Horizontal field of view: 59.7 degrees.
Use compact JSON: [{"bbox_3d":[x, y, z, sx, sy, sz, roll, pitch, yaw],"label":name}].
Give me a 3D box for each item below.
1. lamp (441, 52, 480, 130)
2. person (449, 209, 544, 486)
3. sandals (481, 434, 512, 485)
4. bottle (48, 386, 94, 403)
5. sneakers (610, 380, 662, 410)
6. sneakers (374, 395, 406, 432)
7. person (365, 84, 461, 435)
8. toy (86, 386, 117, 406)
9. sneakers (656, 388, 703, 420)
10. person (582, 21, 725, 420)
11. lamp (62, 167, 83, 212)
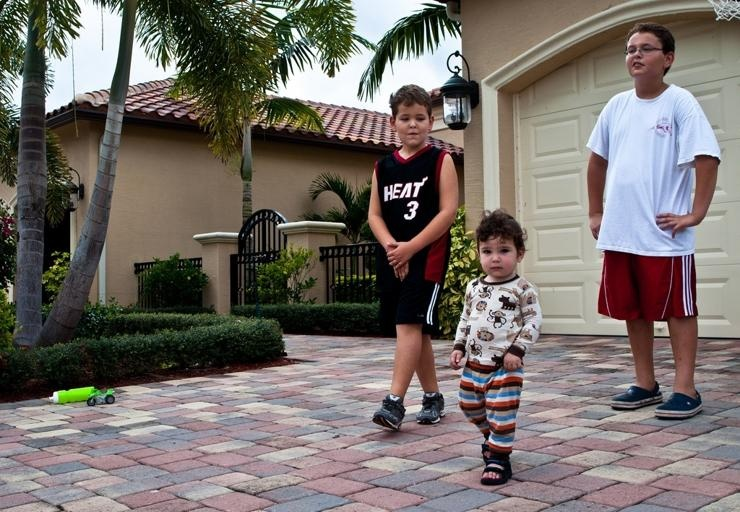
[{"bbox_3d":[1.245,-2.381,9.241,0.609,1.062,0.536,-4,6,-31],"label":"lamp"},{"bbox_3d":[0.672,0.457,3.497,0.418,1.411,0.389,-3,2,-26],"label":"person"},{"bbox_3d":[0.668,1.084,3.436,0.155,0.167,0.331,-1,2,11],"label":"sandals"},{"bbox_3d":[-2.476,1.152,5.329,0.268,0.080,0.080,-5,-38,-19],"label":"bottle"},{"bbox_3d":[1.880,0.987,4.569,0.434,0.152,0.155,-3,-10,-22],"label":"sneakers"},{"bbox_3d":[0.117,1.007,4.073,0.176,0.244,0.197,-2,2,9],"label":"sneakers"},{"bbox_3d":[0.290,-0.018,4.278,0.612,2.280,0.660,-2,2,3],"label":"person"},{"bbox_3d":[-2.173,1.148,5.193,0.244,0.116,0.110,1,-1,-8],"label":"toy"},{"bbox_3d":[2.030,0.979,4.224,0.325,0.113,0.140,-1,-8,-41],"label":"sneakers"},{"bbox_3d":[1.891,-0.277,4.400,0.843,2.662,0.540,-1,2,30],"label":"person"},{"bbox_3d":[-6.707,-1.562,14.697,0.366,1.034,0.801,-3,2,-24],"label":"lamp"}]
